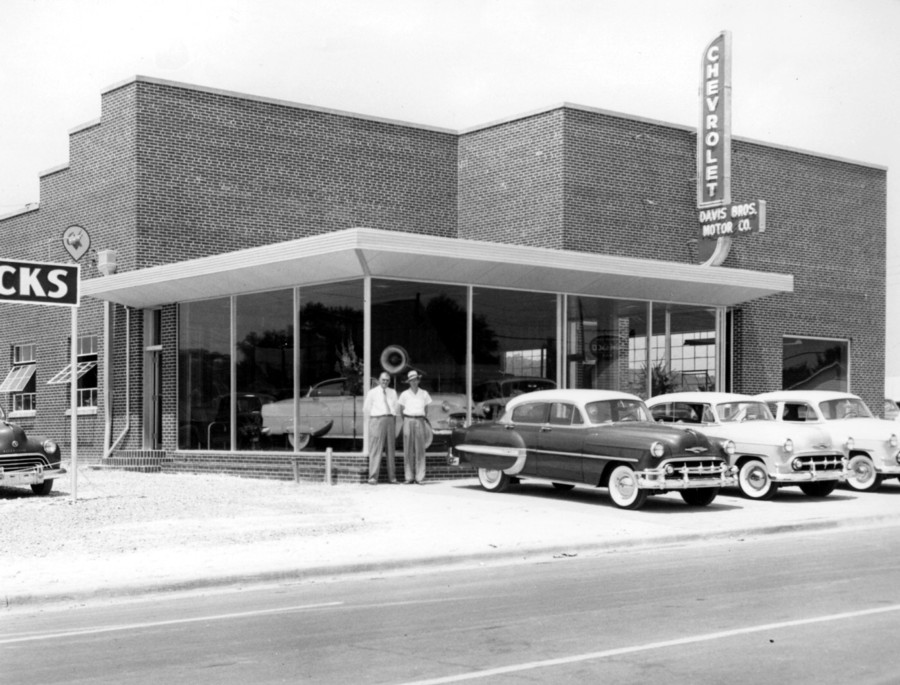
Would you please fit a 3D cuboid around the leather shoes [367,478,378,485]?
[{"bbox_3d":[-1.511,2.777,22.905,0.122,0.117,0.137,7,-13,-33],"label":"leather shoes"}]
